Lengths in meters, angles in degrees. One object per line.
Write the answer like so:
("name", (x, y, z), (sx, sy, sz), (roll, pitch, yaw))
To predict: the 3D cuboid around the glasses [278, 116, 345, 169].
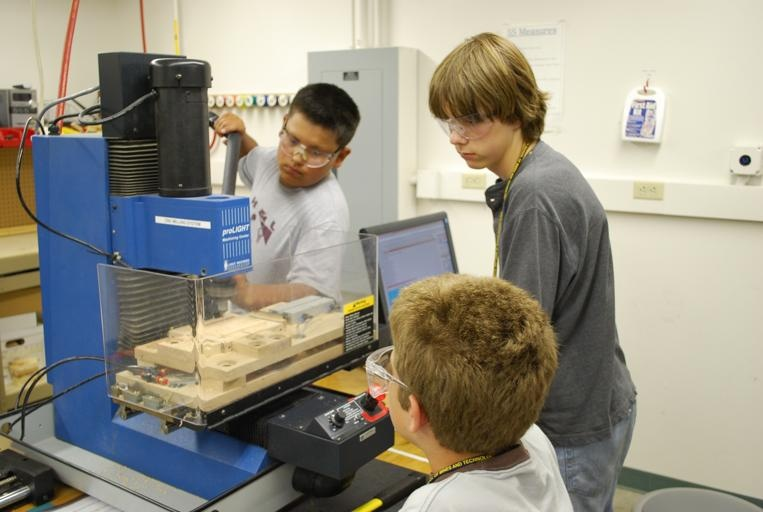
("glasses", (-0.301, -0.444, 2.573), (0.263, 0.195, 0.118), (-1, 13, -7))
